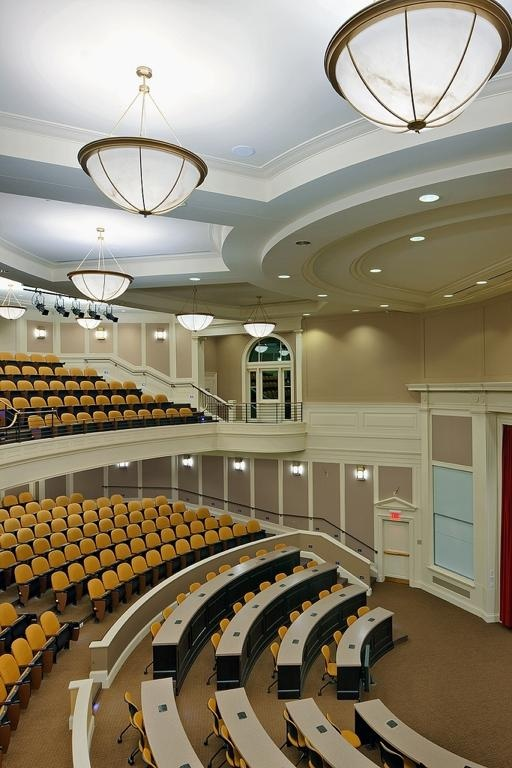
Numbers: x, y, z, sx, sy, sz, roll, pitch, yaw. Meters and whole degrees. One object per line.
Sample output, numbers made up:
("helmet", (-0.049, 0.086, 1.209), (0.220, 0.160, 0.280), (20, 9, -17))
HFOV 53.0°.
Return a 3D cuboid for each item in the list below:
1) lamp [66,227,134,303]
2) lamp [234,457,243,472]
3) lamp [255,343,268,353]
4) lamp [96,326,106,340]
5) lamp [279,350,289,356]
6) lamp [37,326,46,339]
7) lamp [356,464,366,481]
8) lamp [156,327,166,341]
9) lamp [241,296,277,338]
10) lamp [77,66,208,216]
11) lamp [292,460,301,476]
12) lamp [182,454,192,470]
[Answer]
("lamp", (-2.870, -2.234, 9.363), (0.781, 1.205, 0.823), (-12, -19, 37))
("lamp", (-0.567, 2.667, 16.996), (0.410, 0.463, 0.306), (3, 5, 33))
("lamp", (0.138, -1.167, 17.557), (0.104, 0.264, 0.525), (5, -1, -43))
("lamp", (-5.721, -1.777, 18.791), (0.331, 0.386, 0.349), (3, 2, 31))
("lamp", (0.894, -0.984, 17.021), (0.240, 0.179, 0.060), (-1, -1, 23))
("lamp", (-7.686, -1.799, 18.163), (0.171, 0.371, 0.343), (1, 23, 22))
("lamp", (2.996, 2.587, 14.565), (0.321, 0.516, 0.346), (0, -6, 0))
("lamp", (-3.532, -1.782, 18.833), (0.326, 0.523, 0.356), (-1, 2, 4))
("lamp", (0.086, -2.053, 15.417), (0.854, 1.345, 0.866), (-7, -17, 34))
("lamp", (-0.932, -2.052, 4.197), (0.744, 1.081, 0.728), (12, -23, -27))
("lamp", (1.128, 2.630, 15.791), (0.315, 0.370, 0.627), (2, 0, 2))
("lamp", (-2.462, 2.819, 18.236), (0.549, 0.445, 0.121), (3, -1, 44))
